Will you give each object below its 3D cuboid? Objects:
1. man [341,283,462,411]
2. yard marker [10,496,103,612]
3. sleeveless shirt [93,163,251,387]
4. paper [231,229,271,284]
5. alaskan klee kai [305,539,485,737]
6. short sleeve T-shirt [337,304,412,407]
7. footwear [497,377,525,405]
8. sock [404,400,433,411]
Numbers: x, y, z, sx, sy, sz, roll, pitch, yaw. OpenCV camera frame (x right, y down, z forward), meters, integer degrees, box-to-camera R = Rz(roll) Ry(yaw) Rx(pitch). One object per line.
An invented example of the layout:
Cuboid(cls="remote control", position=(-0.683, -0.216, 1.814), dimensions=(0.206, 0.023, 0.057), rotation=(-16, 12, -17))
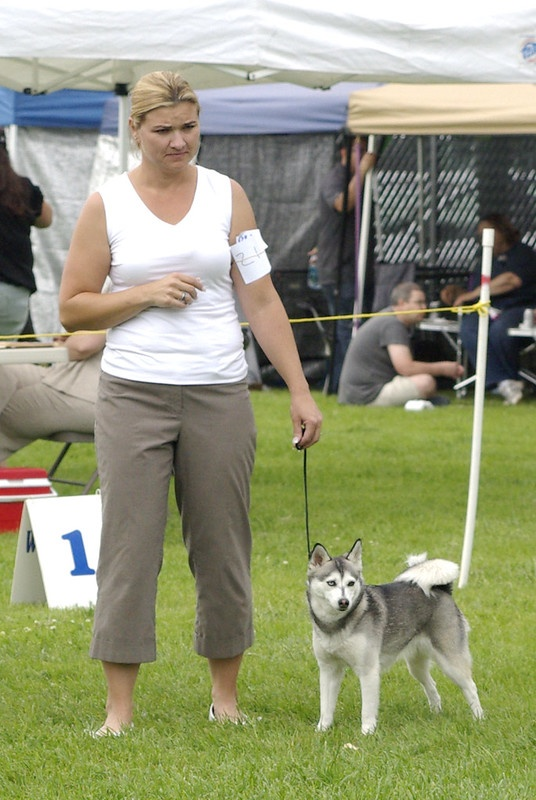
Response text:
Cuboid(cls="man", position=(0.863, -0.369, 7.213), dimensions=(0.968, 0.953, 0.853), rotation=(-1, 10, -6))
Cuboid(cls="yard marker", position=(-0.740, 0.594, 4.359), dimensions=(0.411, 0.455, 0.290), rotation=(-6, 19, 33))
Cuboid(cls="sleeveless shirt", position=(-0.250, -0.331, 2.802), dimensions=(0.382, 0.573, 0.216), rotation=(1, 7, -2))
Cuboid(cls="paper", position=(-0.044, -0.395, 2.886), dimensions=(0.085, 0.137, 0.113), rotation=(-2, 16, 42))
Cuboid(cls="alaskan klee kai", position=(0.354, 0.674, 3.110), dimensions=(0.507, 0.547, 0.336), rotation=(-2, 7, -23))
Cuboid(cls="short sleeve T-shirt", position=(0.752, -0.279, 7.475), dimensions=(0.409, 0.602, 0.645), rotation=(-2, 0, -12))
Cuboid(cls="footwear", position=(1.822, -0.073, 7.940), dimensions=(0.142, 0.072, 0.223), rotation=(-10, 22, -2))
Cuboid(cls="sock", position=(0.973, 0.033, 6.857), dimensions=(0.180, 0.061, 0.278), rotation=(3, 6, 21))
